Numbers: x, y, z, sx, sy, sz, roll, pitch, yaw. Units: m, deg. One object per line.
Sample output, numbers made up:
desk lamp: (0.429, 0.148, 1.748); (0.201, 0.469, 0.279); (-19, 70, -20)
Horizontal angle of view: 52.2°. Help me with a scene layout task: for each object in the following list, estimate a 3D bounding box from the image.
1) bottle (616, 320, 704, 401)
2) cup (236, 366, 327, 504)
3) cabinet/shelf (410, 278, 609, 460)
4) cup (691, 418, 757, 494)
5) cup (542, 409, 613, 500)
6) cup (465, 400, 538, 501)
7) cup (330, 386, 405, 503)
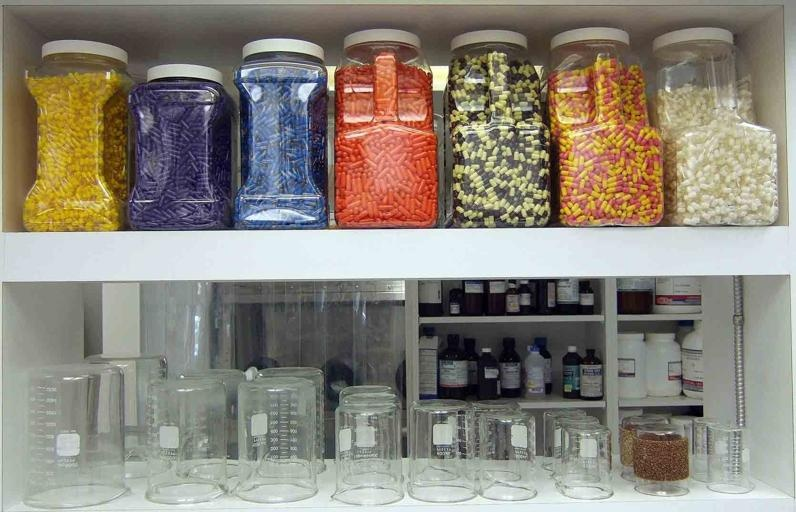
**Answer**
bottle: (1.017, 0.443, 3.265); (0.322, 0.319, 0.215); (2, -3, 5)
cup: (-0.290, 0.427, 2.014); (0.246, 0.345, 0.253); (1, -3, 0)
cabinet/shelf: (0.382, 0.372, 2.813); (0.706, 0.682, 0.230); (0, -5, -2)
cup: (0.785, 0.478, 1.996); (0.145, 0.153, 0.139); (0, 2, 0)
cup: (0.436, 0.490, 1.958); (0.148, 0.147, 0.144); (0, -2, 0)
cup: (0.257, 0.466, 1.958); (0.193, 0.260, 0.170); (0, -6, -6)
cup: (-0.072, 0.450, 1.964); (0.217, 0.273, 0.200); (0, -5, 0)
